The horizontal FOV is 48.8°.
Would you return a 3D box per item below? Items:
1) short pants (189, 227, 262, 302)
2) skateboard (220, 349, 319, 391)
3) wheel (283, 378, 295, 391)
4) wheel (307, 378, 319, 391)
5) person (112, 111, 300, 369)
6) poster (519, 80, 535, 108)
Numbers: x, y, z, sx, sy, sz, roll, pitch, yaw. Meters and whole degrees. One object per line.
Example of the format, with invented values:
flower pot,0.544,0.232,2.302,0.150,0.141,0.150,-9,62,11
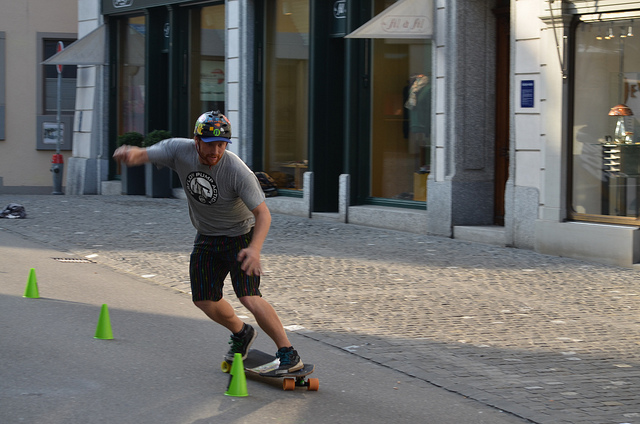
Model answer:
short pants,-0.743,0.431,5.725,0.669,0.588,0.310,1,5,33
skateboard,-0.413,1.280,5.777,0.292,0.126,0.926,-7,8,-41
wheel,-0.253,1.366,5.679,0.113,0.104,0.130,1,-2,-6
wheel,-0.054,1.372,5.675,0.114,0.101,0.125,0,7,0
person,-0.796,0.237,5.659,1.081,2.027,0.636,1,5,33
poster,3.508,-2.000,11.966,0.263,0.476,0.015,2,6,41
